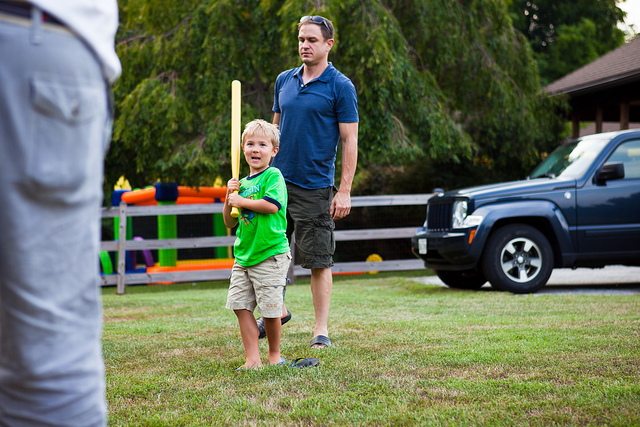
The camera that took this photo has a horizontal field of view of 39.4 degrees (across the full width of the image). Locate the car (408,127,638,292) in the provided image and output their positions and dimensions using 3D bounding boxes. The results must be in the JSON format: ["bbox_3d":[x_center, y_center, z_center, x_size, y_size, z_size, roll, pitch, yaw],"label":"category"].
[{"bbox_3d":[2.568,0.045,11.145,2.827,1.412,1.565,1,-4,-8],"label":"car"}]

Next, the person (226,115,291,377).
[{"bbox_3d":[-0.516,0.242,7.828,0.566,2.076,1.289,-2,10,-2],"label":"person"}]

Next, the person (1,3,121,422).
[{"bbox_3d":[-1.667,0.009,5.733,0.851,2.662,0.465,-4,10,-13],"label":"person"}]

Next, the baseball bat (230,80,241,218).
[{"bbox_3d":[-0.674,-0.607,7.989,0.082,1.137,0.105,2,6,33],"label":"baseball bat"}]

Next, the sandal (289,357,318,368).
[{"bbox_3d":[-0.119,1.249,7.577,0.157,0.046,0.099,-8,-8,21],"label":"sandal"}]
